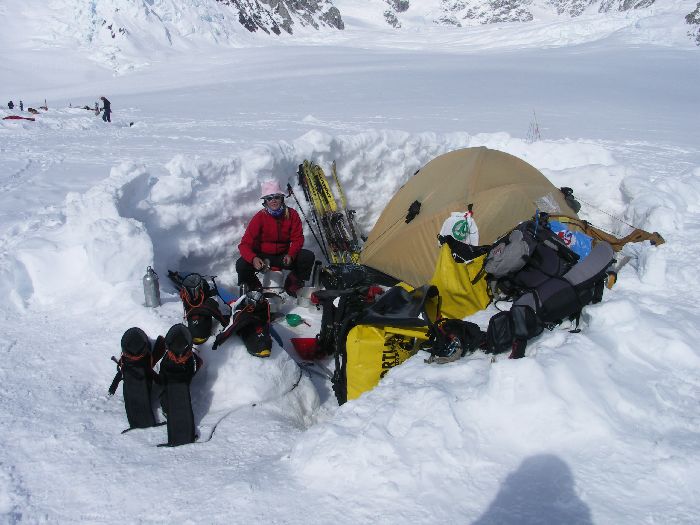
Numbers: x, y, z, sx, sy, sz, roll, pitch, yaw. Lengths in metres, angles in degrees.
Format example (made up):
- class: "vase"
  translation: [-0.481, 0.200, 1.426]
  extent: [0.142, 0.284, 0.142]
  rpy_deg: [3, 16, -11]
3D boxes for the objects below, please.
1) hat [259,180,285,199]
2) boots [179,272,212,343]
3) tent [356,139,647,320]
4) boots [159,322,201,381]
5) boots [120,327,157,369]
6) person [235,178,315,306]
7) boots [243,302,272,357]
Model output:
- class: "hat"
  translation: [-1.015, -0.963, 8.232]
  extent: [0.242, 0.173, 0.307]
  rpy_deg: [-7, 9, 18]
- class: "boots"
  translation: [-1.619, 0.477, 6.682]
  extent: [0.296, 0.355, 0.833]
  rpy_deg: [-3, 49, -10]
- class: "tent"
  translation: [1.539, -0.473, 8.129]
  extent: [2.483, 1.528, 2.611]
  rpy_deg: [-21, 39, -25]
- class: "boots"
  translation: [-1.630, 0.918, 5.989]
  extent: [0.306, 0.590, 0.422]
  rpy_deg: [7, 36, 13]
- class: "boots"
  translation: [-2.043, 0.765, 5.967]
  extent: [0.293, 0.323, 0.374]
  rpy_deg: [-1, 9, -36]
- class: "person"
  translation: [-0.980, -0.273, 8.293]
  extent: [0.964, 1.571, 0.762]
  rpy_deg: [1, 22, -11]
- class: "boots"
  translation: [-0.976, 0.713, 6.542]
  extent: [0.300, 0.356, 0.579]
  rpy_deg: [-7, 35, -6]
